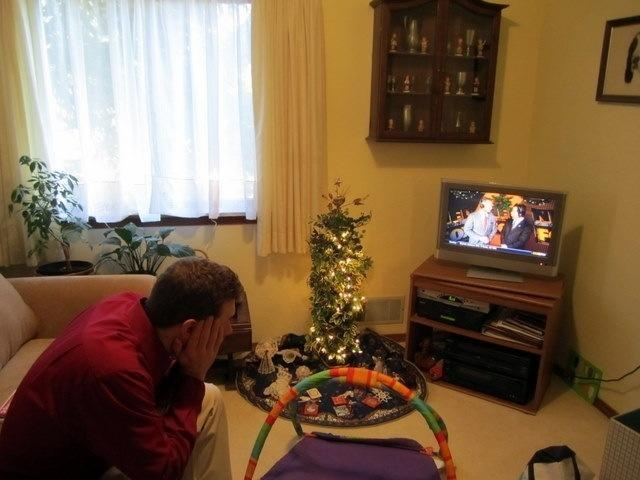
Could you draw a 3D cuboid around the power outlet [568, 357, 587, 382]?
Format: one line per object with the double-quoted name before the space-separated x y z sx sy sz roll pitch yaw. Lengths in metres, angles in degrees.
"power outlet" 1.851 0.928 3.474 0.034 0.148 0.145 -1 -2 -21
